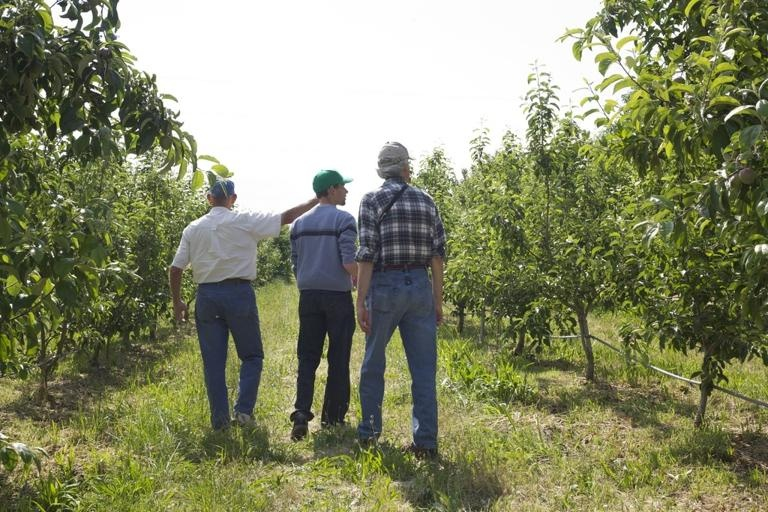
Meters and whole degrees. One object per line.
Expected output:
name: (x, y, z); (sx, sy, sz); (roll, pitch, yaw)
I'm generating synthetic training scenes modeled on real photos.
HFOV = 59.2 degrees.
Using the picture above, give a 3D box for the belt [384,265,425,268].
belt: (0.215, 0.107, 6.760); (0.390, 0.052, 0.076); (0, -1, -16)

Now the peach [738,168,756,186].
peach: (2.628, -0.580, 4.943); (0.108, 0.140, 0.121); (2, 14, -1)

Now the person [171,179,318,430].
person: (-1.657, 0.500, 7.325); (1.353, 2.651, 0.636); (0, -1, -8)

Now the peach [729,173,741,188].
peach: (2.560, -0.546, 4.916); (0.078, 0.104, 0.083); (7, -16, 3)

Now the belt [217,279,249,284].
belt: (-1.614, 0.271, 7.257); (0.317, 0.065, 0.053); (0, -1, -18)

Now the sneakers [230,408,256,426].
sneakers: (-1.485, 1.720, 7.170); (0.221, 0.148, 0.313); (0, -1, -12)
